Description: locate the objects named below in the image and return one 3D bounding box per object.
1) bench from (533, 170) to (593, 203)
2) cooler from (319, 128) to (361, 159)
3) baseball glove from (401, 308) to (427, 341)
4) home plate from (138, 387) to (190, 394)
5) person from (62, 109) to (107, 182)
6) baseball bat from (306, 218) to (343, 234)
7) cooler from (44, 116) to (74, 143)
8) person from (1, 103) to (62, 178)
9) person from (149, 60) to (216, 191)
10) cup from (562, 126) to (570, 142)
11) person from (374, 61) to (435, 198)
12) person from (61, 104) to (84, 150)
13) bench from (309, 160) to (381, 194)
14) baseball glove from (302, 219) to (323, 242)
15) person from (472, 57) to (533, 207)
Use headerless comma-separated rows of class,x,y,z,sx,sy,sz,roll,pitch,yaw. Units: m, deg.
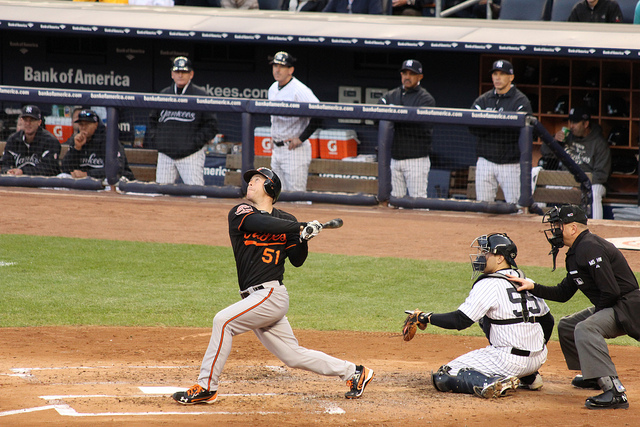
bench,3.876,-0.374,18.571,0.988,0.283,1.317,2,-4,9
cooler,0.310,-1.151,19.168,0.711,0.418,0.398,2,5,22
baseball glove,1.100,1.327,13.541,0.222,0.452,0.174,34,11,13
home plate,-1.824,2.070,13.290,0.563,0.035,0.204,1,4,-8
person,-3.822,-1.085,18.625,0.697,1.177,0.589,1,5,-12
baseball bat,0.112,0.153,13.263,0.141,0.145,0.683,7,10,35
cooler,-4.518,-1.465,19.891,0.605,0.504,0.296,2,12,5
person,-4.700,-1.110,18.764,1.032,1.095,1.309,3,16,4
person,-2.234,-1.419,18.574,1.045,2.106,0.696,1,5,-8
cup,4.234,-1.356,19.760,0.163,0.145,0.251,13,41,18
person,1.369,-1.309,18.114,0.866,2.144,0.555,2,5,2
person,-4.199,-1.492,19.558,0.212,0.731,0.814,10,-4,-9
bench,0.353,-0.489,18.625,1.208,0.603,0.374,3,-8,-12
baseball glove,-0.116,0.239,13.116,0.297,0.196,0.118,-30,-38,18
person,2.808,-1.225,17.827,0.903,2.252,0.610,2,5,10
